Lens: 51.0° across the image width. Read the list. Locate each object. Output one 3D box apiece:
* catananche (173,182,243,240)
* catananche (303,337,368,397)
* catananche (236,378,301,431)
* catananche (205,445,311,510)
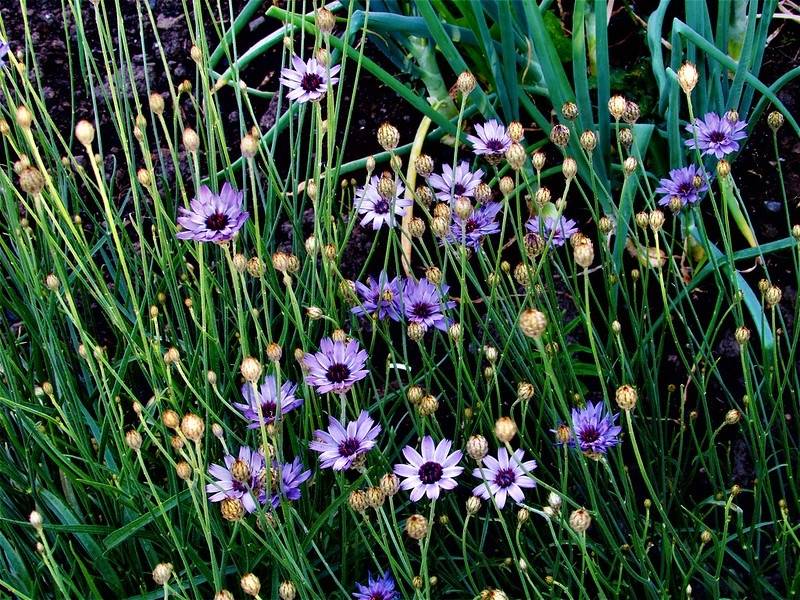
[{"bbox_3d":[-0.324,-0.152,1.473,0.104,0.056,0.108,19,-8,-24],"label":"catananche"},{"bbox_3d":[-0.112,0.113,1.468,0.113,0.083,0.069,-18,22,-6],"label":"catananche"},{"bbox_3d":[-0.242,0.201,1.525,0.110,0.081,0.129,-2,6,-25],"label":"catananche"},{"bbox_3d":[-0.255,0.282,1.492,0.126,0.061,0.133,26,44,31],"label":"catananche"}]
